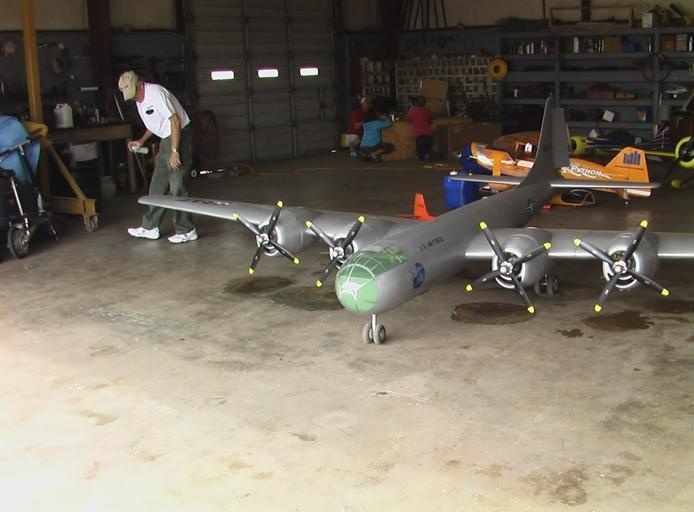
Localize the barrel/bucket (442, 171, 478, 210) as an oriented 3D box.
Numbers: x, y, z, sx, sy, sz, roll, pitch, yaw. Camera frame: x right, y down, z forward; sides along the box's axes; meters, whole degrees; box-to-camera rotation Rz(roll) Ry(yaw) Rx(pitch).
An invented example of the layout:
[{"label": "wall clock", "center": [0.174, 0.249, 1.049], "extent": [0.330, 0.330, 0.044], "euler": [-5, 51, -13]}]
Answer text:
[{"label": "barrel/bucket", "center": [2.310, -1.278, 11.189], "extent": [0.660, 0.751, 0.568], "euler": [-1, 17, 7]}]

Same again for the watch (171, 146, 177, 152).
[{"label": "watch", "center": [-3.085, -1.894, 9.805], "extent": [0.090, 0.076, 0.031], "euler": [25, 6, 13]}]

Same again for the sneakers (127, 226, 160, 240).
[{"label": "sneakers", "center": [-4.000, -0.474, 10.842], "extent": [0.690, 0.266, 0.250], "euler": [9, 14, 8]}]

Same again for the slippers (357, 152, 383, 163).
[{"label": "slippers", "center": [0.727, -3.441, 18.688], "extent": [0.942, 0.427, 0.376], "euler": [8, 20, 31]}]

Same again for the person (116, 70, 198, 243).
[{"label": "person", "center": [-3.432, -1.785, 10.152], "extent": [1.213, 3.144, 1.308], "euler": [-11, 19, -22]}]

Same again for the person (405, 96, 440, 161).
[{"label": "person", "center": [2.426, -4.265, 18.523], "extent": [0.938, 2.024, 0.954], "euler": [-1, 18, 6]}]

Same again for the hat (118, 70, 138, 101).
[{"label": "hat", "center": [-3.889, -3.012, 9.710], "extent": [0.289, 0.441, 0.462], "euler": [-15, 20, -33]}]

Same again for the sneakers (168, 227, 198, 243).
[{"label": "sneakers", "center": [-3.102, -0.405, 10.573], "extent": [0.615, 0.232, 0.225], "euler": [-7, 20, -22]}]

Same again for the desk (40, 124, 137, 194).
[{"label": "desk", "center": [-6.298, -2.546, 13.753], "extent": [2.253, 1.365, 1.448], "euler": [-7, 10, -23]}]

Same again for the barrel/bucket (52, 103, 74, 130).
[{"label": "barrel/bucket", "center": [-6.738, -3.299, 13.043], "extent": [0.397, 0.546, 0.600], "euler": [-11, 18, -24]}]

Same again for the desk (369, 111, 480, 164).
[{"label": "desk", "center": [2.488, -3.856, 18.146], "extent": [3.009, 1.238, 1.485], "euler": [-1, 22, 7]}]
